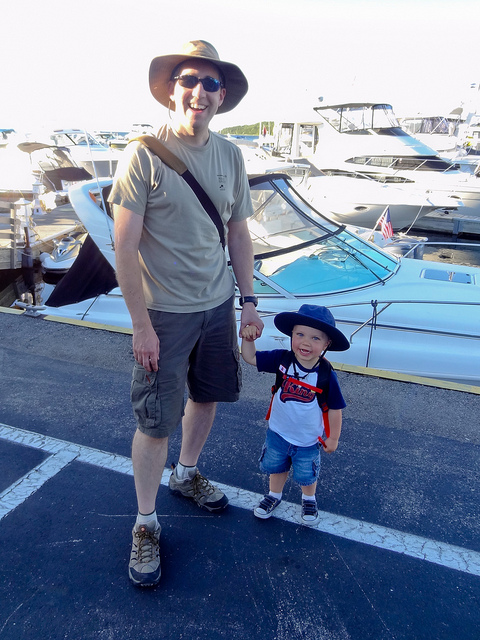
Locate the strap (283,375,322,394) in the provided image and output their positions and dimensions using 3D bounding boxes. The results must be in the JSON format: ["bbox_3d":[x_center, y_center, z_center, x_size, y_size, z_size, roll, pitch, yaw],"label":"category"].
[{"bbox_3d":[0.237,0.243,1.664,0.152,0.044,0.017,7,16,17],"label":"strap"}]

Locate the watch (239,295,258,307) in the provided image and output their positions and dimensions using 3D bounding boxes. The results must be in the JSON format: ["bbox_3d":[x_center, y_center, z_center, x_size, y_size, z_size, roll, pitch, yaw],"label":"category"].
[{"bbox_3d":[0.040,-0.069,1.776,0.060,0.037,0.056,2,-5,-40],"label":"watch"}]

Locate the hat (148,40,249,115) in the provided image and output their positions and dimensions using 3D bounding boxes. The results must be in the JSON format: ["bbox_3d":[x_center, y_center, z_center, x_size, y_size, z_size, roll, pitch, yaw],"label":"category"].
[{"bbox_3d":[-0.143,-0.882,1.596,0.361,0.169,0.344,-1,16,-13],"label":"hat"}]

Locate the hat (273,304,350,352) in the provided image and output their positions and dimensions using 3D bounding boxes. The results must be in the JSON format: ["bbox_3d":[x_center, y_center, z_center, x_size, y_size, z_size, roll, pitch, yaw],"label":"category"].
[{"bbox_3d":[0.272,0.036,1.653,0.277,0.181,0.125,4,15,6],"label":"hat"}]

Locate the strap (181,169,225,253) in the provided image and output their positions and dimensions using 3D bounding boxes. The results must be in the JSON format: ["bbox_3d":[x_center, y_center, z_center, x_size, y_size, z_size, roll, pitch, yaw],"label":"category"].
[{"bbox_3d":[-0.106,-0.365,1.491,0.069,0.261,0.256,8,16,19],"label":"strap"}]

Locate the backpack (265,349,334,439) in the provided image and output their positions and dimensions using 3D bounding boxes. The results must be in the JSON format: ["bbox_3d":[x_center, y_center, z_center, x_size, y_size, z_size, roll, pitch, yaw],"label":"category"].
[{"bbox_3d":[0.235,0.284,1.683,0.285,0.333,0.198,14,22,23],"label":"backpack"}]

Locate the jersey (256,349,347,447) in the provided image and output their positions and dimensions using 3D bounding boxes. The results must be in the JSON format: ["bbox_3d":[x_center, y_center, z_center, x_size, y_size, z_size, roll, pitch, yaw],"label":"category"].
[{"bbox_3d":[0.287,0.288,1.832,0.281,0.343,0.391,10,13,11],"label":"jersey"}]

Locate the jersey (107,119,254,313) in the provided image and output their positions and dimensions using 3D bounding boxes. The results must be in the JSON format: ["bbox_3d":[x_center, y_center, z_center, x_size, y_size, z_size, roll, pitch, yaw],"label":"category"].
[{"bbox_3d":[-0.176,-0.357,1.518,0.208,0.625,0.597,13,19,35],"label":"jersey"}]

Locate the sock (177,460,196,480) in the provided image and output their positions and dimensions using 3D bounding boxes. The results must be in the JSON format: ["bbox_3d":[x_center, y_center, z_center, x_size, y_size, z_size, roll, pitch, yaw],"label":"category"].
[{"bbox_3d":[-0.213,0.619,1.814,0.079,0.064,0.065,3,6,0],"label":"sock"}]
